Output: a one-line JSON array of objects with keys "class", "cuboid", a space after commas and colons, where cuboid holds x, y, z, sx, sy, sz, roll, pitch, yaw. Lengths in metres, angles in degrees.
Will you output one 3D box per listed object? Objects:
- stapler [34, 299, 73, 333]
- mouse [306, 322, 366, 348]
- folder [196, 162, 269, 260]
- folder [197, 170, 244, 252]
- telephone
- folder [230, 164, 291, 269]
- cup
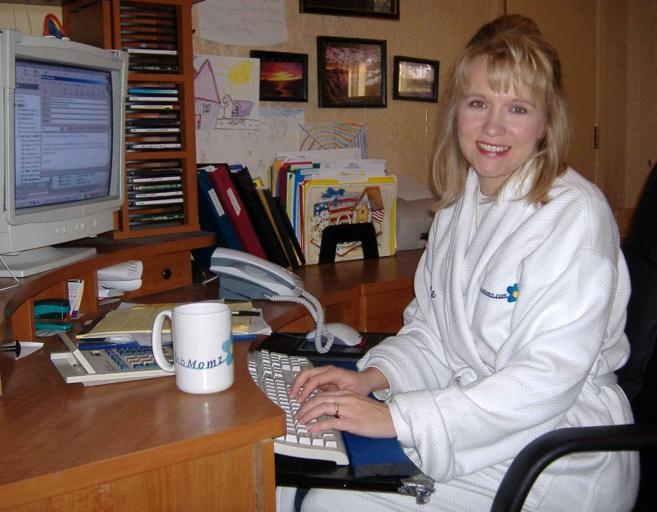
[{"class": "stapler", "cuboid": [-0.721, 0.144, 1.386, 0.131, 0.079, 0.039, 2, 11, 10]}, {"class": "mouse", "cuboid": [0.035, 0.196, 1.454, 0.116, 0.040, 0.069, 11, 7, 11]}, {"class": "folder", "cuboid": [-0.278, -0.184, 1.948, 0.071, 0.306, 0.293, -22, 19, -9]}, {"class": "folder", "cuboid": [-0.379, -0.154, 1.897, 0.084, 0.231, 0.238, -22, -4, -16]}, {"class": "telephone", "cuboid": [-0.221, 0.009, 1.700, 0.236, 0.162, 0.324, -6, 14, -33]}, {"class": "folder", "cuboid": [-0.222, -0.152, 2.001, 0.069, 0.298, 0.285, -23, 15, -12]}, {"class": "cup", "cuboid": [-0.242, 0.170, 1.113, 0.199, 0.167, 0.161, -1, 1, 6]}]
